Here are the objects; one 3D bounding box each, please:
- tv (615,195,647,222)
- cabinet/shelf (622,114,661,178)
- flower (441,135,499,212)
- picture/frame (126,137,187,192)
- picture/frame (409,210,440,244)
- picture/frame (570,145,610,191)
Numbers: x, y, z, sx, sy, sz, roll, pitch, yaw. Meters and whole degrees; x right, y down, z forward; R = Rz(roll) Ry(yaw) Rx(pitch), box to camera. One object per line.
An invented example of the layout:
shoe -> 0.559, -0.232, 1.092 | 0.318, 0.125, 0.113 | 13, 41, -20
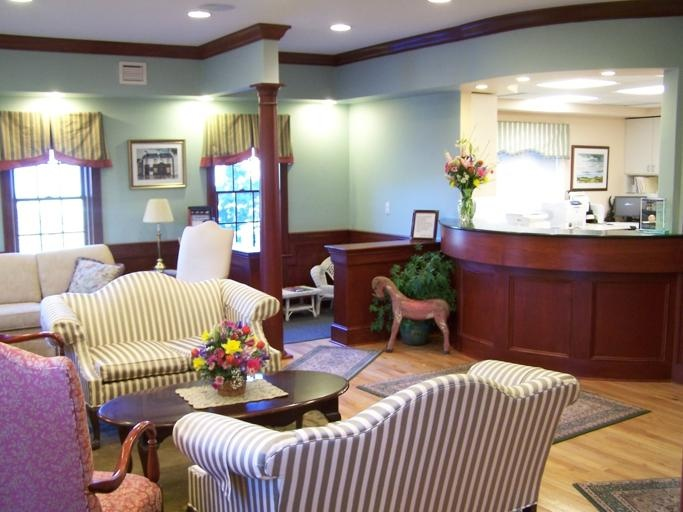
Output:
tv -> 5.191, -0.876, 9.796 | 0.286, 0.479, 0.626 | -6, 10, -29
cabinet/shelf -> 5.673, -2.068, 10.103 | 0.269, 1.073, 0.731 | -6, 10, -25
flower -> 1.402, -0.919, 5.903 | 0.466, 0.791, 0.801 | 2, 9, 15
picture/frame -> -2.400, -1.193, 6.870 | 0.670, 0.593, 0.070 | -6, 11, -27
picture/frame -> 1.005, -0.354, 6.429 | 0.390, 0.428, 0.033 | 5, -7, 36
picture/frame -> 4.537, -1.612, 9.833 | 0.031, 0.833, 0.837 | -9, 13, -26
